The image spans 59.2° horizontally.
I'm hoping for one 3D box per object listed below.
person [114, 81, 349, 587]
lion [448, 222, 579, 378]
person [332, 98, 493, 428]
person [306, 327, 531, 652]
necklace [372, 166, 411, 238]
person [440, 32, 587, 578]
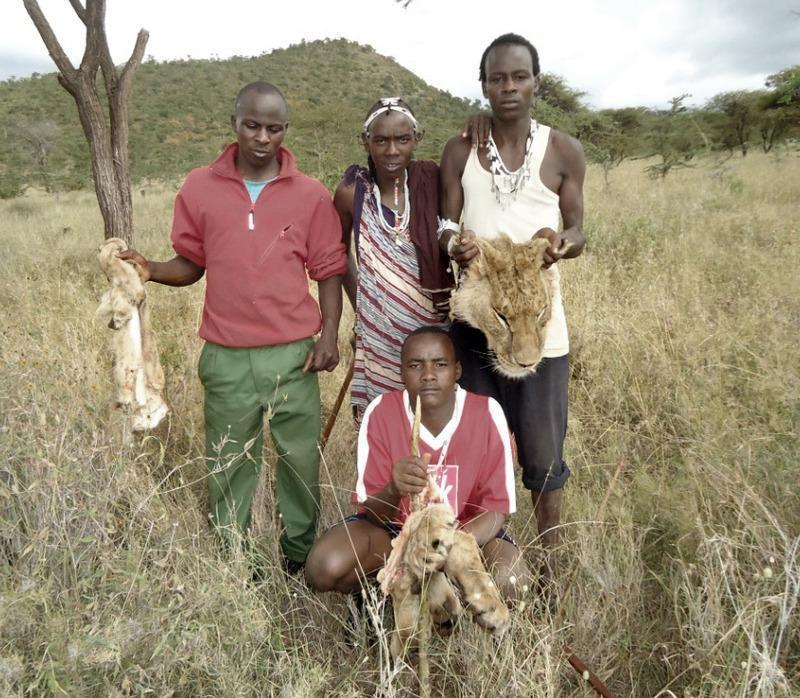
[{"bbox_3d":[-0.794,-0.088,4.165,1.064,2.806,0.635,-8,16,-19],"label":"person"},{"bbox_3d":[0.517,-0.247,3.653,0.535,0.715,0.336,2,16,13],"label":"lion"},{"bbox_3d":[-0.028,-0.391,4.217,0.555,2.037,0.418,-2,17,2],"label":"person"},{"bbox_3d":[0.038,0.560,3.851,0.785,1.723,1.007,2,13,-16],"label":"person"},{"bbox_3d":[-0.043,-0.821,4.057,0.182,0.407,0.099,-3,2,7],"label":"necklace"},{"bbox_3d":[0.683,-0.151,3.927,0.686,3.029,0.886,-1,14,15],"label":"person"}]
